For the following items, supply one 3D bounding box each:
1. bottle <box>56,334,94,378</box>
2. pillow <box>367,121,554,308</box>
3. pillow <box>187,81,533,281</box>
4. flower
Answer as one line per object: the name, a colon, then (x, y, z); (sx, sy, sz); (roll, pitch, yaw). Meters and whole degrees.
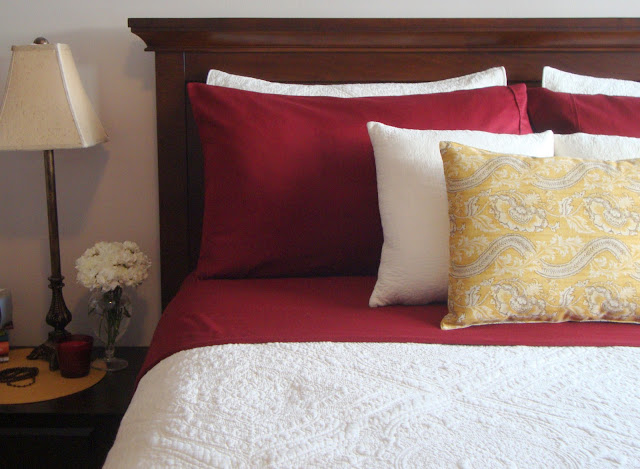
bottle: (-0.814, 0.411, 1.945); (0.126, 0.109, 0.135); (1, 0, -10)
pillow: (0.380, -0.045, 1.525); (0.538, 0.471, 0.190); (-3, -4, -6)
pillow: (0.120, -0.151, 1.719); (0.677, 0.407, 0.170); (-2, -7, -5)
flower: (-0.650, 0.203, 2.092); (0.331, 0.379, 0.306); (0, 2, -6)
